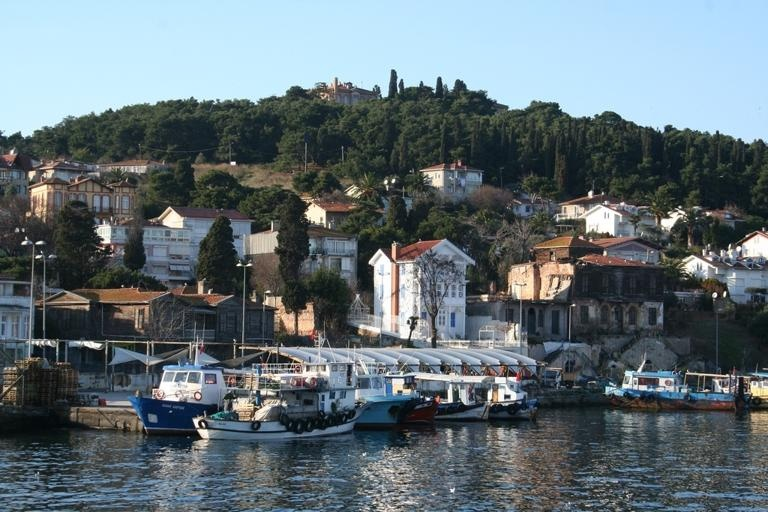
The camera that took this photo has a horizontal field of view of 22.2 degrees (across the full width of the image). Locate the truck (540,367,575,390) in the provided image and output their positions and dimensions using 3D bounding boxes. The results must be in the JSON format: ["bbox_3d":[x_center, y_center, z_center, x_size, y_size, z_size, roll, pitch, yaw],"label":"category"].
[{"bbox_3d":[19.092,13.840,215.988,2.074,1.894,3.226,-1,-12,12],"label":"truck"}]

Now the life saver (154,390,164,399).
[{"bbox_3d":[-21.867,13.749,189.777,0.780,0.838,0.191,7,6,26],"label":"life saver"}]

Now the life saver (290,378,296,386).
[{"bbox_3d":[-8.838,12.418,189.880,0.560,0.846,0.623,2,-8,-15],"label":"life saver"}]
